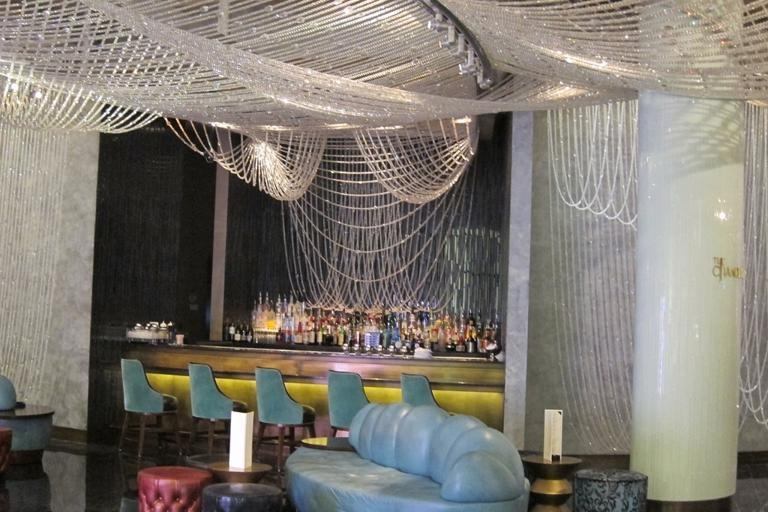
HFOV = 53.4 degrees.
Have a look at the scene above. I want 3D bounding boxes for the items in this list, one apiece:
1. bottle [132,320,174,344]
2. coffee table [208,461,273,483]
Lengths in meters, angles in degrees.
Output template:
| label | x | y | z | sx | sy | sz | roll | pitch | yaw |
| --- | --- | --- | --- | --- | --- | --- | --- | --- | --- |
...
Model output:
| label | x | y | z | sx | sy | sz | roll | pitch | yaw |
| --- | --- | --- | --- | --- | --- | --- | --- | --- | --- |
| bottle | -3.016 | 0.980 | 9.941 | 0.651 | 0.289 | 0.336 | 2 | -7 | -32 |
| coffee table | -1.235 | 1.831 | 6.473 | 0.471 | 0.156 | 0.397 | -8 | -8 | 39 |
